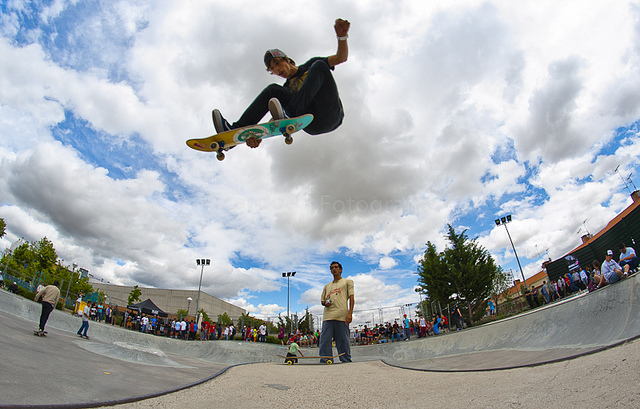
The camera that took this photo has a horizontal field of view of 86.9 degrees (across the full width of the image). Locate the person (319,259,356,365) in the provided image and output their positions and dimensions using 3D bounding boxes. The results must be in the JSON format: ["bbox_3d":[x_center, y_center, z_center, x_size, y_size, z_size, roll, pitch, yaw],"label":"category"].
[{"bbox_3d":[0.330,2.122,6.546,0.568,1.880,0.986,13,-35,-18],"label":"person"}]

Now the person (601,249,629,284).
[{"bbox_3d":[7.850,1.630,9.007,0.424,0.830,0.817,-10,-16,8],"label":"person"}]
